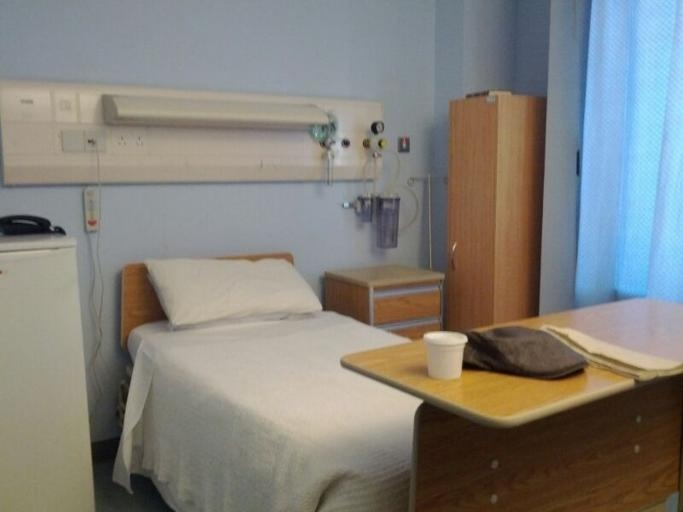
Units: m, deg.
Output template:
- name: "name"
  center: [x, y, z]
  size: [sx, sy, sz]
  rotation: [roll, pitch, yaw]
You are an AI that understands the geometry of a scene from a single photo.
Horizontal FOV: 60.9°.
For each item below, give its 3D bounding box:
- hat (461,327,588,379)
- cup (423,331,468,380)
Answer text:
- name: "hat"
  center: [0.586, 0.293, 1.844]
  size: [0.360, 0.114, 0.210]
  rotation: [3, 12, 22]
- name: "cup"
  center: [0.318, 0.300, 1.777]
  size: [0.145, 0.127, 0.155]
  rotation: [-3, 6, 0]
